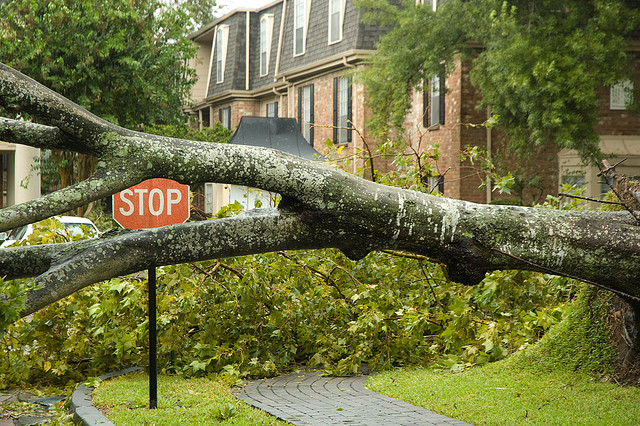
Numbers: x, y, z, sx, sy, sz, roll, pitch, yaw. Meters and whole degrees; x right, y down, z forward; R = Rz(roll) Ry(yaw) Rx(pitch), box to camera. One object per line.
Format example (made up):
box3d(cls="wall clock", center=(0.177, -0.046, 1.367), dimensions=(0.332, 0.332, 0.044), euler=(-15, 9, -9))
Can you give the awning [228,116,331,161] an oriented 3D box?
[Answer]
box3d(cls="awning", center=(-1.629, -2.667, 28.808), dimensions=(2.578, 0.948, 2.431), euler=(2, -2, -17))
